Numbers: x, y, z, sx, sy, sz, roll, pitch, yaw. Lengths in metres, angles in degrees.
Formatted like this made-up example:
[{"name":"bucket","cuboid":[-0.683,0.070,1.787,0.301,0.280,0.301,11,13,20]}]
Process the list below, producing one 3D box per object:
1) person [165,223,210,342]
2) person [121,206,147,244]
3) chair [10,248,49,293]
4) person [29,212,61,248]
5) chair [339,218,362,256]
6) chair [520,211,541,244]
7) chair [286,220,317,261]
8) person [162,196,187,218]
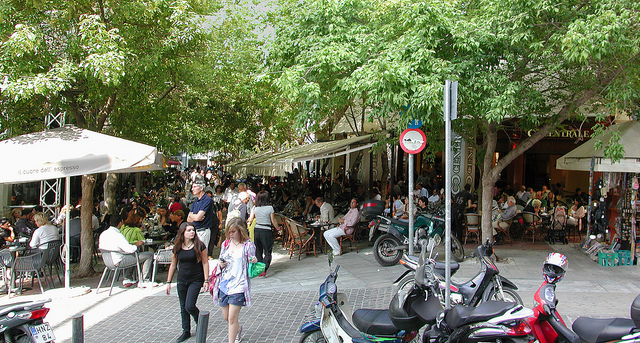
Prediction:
[{"name":"person","cuboid":[-3.298,2.794,10.605,1.077,2.958,0.758,-2,-3,-8]},{"name":"person","cuboid":[-6.662,1.972,14.987,0.849,1.181,0.630,17,4,28]},{"name":"chair","cuboid":[-9.676,3.291,14.074,0.956,1.400,1.775,0,-5,-32]},{"name":"person","cuboid":[-9.362,1.986,14.233,0.859,1.169,0.578,-1,-4,-21]},{"name":"chair","cuboid":[1.414,2.756,17.198,1.311,1.605,1.186,1,0,-5]},{"name":"chair","cuboid":[9.272,2.448,18.486,0.854,1.392,1.352,-4,-5,25]},{"name":"chair","cuboid":[-0.525,2.696,16.716,1.485,1.736,1.402,-1,2,-19]},{"name":"person","cuboid":[-6.339,1.558,18.149,0.507,0.374,0.831,-10,17,-7]}]
